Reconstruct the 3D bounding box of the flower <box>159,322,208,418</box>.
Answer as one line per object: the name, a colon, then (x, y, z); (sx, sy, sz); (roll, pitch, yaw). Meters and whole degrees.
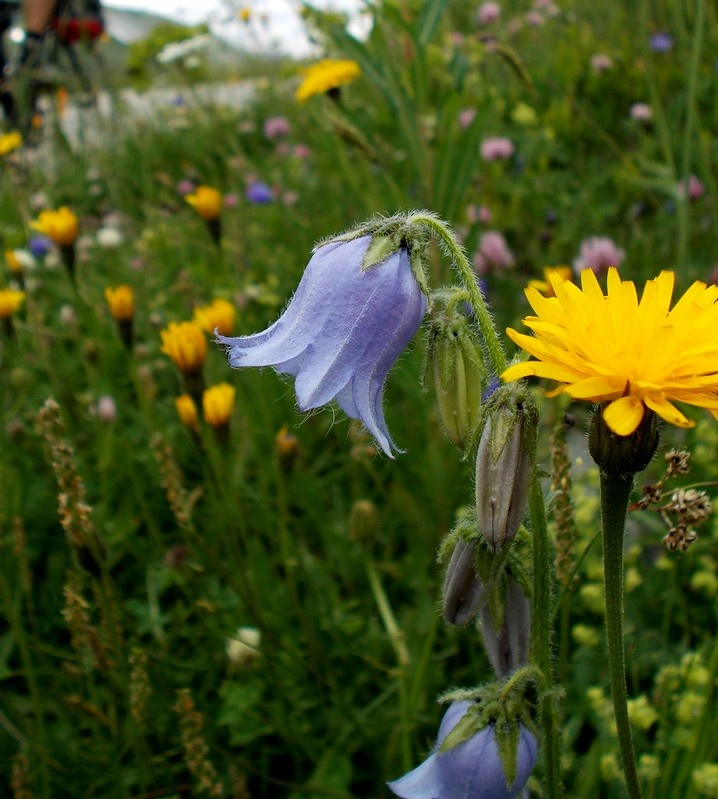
flower: (-0.328, -0.061, 2.280); (0.096, 0.197, 0.090); (-17, 18, -31)
